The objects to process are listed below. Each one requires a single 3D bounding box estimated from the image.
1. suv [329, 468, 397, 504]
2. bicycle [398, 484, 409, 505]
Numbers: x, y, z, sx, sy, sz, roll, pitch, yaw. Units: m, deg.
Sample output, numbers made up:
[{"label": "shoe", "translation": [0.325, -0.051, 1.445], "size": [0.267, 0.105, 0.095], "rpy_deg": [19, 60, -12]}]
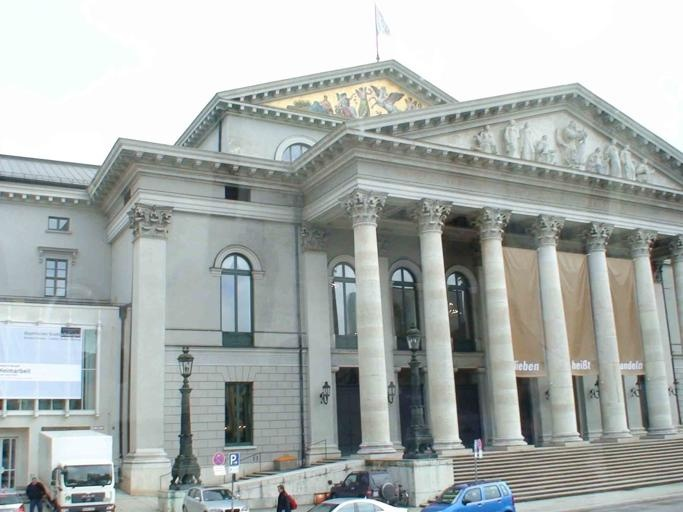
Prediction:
[{"label": "suv", "translation": [1.092, 10.330, 35.807], "size": [1.615, 1.179, 2.473], "rpy_deg": [14, -14, -43]}, {"label": "bicycle", "translation": [2.920, 10.981, 36.393], "size": [0.547, 0.760, 0.347], "rpy_deg": [11, 8, 9]}]
